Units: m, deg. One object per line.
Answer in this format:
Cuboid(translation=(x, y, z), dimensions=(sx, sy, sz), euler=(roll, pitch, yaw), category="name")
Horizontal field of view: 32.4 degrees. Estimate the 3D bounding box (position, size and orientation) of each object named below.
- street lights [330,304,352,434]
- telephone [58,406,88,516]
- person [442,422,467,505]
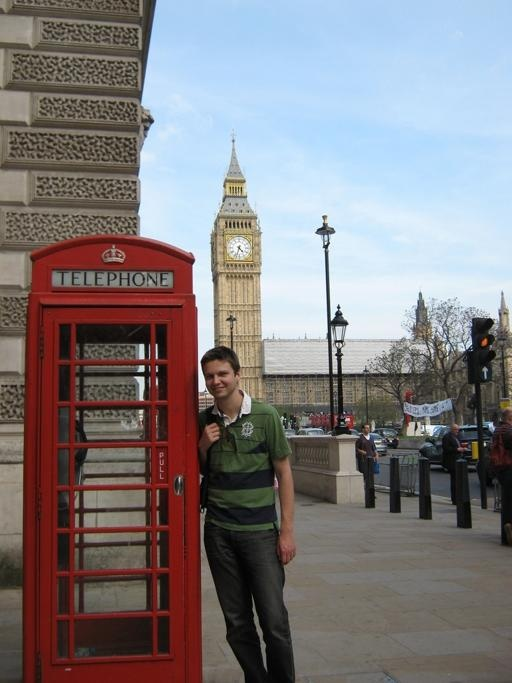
Cuboid(translation=(1.910, 0.647, 20.341), dimensions=(0.527, 2.924, 0.625), euler=(-2, 2, 7), category="street lights")
Cuboid(translation=(-0.961, 0.633, 4.628), dimensions=(0.121, 0.551, 0.283), euler=(-3, -4, 4), category="telephone")
Cuboid(translation=(3.863, 2.330, 16.857), dimensions=(0.533, 1.517, 0.499), euler=(-4, -3, -38), category="person")
